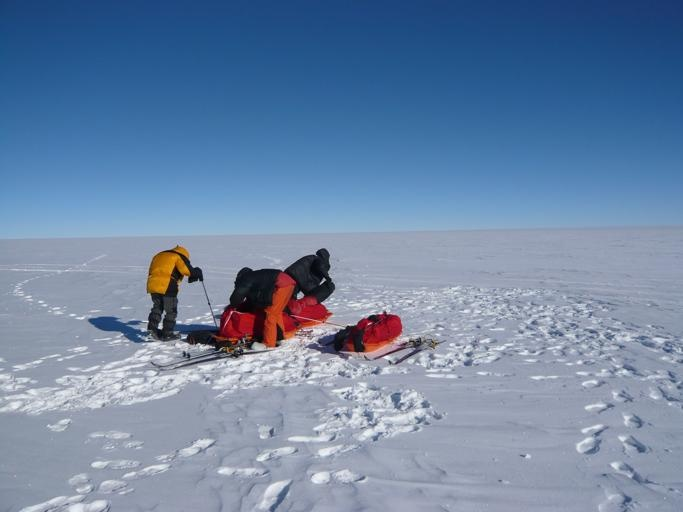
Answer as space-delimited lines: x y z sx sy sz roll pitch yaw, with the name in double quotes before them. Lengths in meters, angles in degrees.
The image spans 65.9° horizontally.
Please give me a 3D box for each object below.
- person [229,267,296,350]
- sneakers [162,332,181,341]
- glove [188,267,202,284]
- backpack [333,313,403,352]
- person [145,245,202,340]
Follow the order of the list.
"person" -1.343 0.802 8.947 1.498 0.985 1.234 -3 3 -14
"sneakers" -2.915 1.392 9.069 0.317 0.134 0.212 0 4 -19
"glove" -2.545 0.347 9.274 0.314 0.278 0.158 9 -1 3
"backpack" 0.445 1.251 8.598 0.629 0.267 0.986 -1 7 41
"person" -2.977 0.635 9.366 0.893 1.588 0.871 0 5 -16
